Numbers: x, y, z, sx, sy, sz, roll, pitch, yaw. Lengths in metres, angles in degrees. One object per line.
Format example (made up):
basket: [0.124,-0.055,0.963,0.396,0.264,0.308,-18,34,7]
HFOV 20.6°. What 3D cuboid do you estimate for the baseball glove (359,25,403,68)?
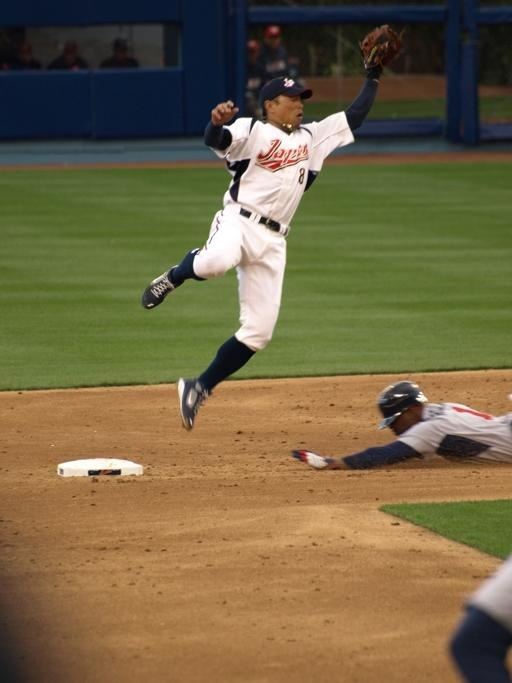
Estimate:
baseball glove: [0.616,-1.461,6.958,0.188,0.224,0.082,40,-15,-16]

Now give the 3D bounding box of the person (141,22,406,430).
person: [0.021,-0.444,6.739,0.651,1.590,1.111,6,14,33]

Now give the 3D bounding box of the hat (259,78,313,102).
hat: [0.136,-1.177,6.611,0.232,0.111,0.146,-4,13,12]

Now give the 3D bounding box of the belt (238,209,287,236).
belt: [0.038,-0.547,6.493,0.161,0.047,0.120,20,0,4]

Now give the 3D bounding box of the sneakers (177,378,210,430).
sneakers: [-0.315,0.275,6.626,0.195,0.270,0.093,-3,-15,-2]
